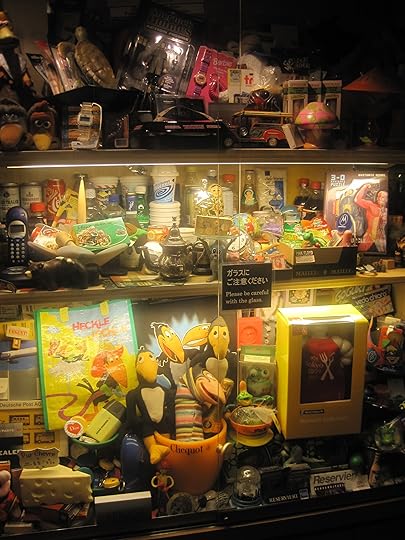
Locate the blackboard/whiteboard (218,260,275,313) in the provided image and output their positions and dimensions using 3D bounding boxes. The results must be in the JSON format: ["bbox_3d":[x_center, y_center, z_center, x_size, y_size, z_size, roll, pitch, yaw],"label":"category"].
[{"bbox_3d":[0.133,0.043,1.374,0.175,0.139,0.024,-2,10,-9],"label":"blackboard/whiteboard"}]

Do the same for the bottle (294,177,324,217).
[{"bbox_3d":[0.417,-0.274,1.710,0.117,0.152,0.159,1,3,17],"label":"bottle"}]

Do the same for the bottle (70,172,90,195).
[{"bbox_3d":[-0.425,-0.301,1.538,0.089,0.077,0.059,1,0,-5],"label":"bottle"}]
